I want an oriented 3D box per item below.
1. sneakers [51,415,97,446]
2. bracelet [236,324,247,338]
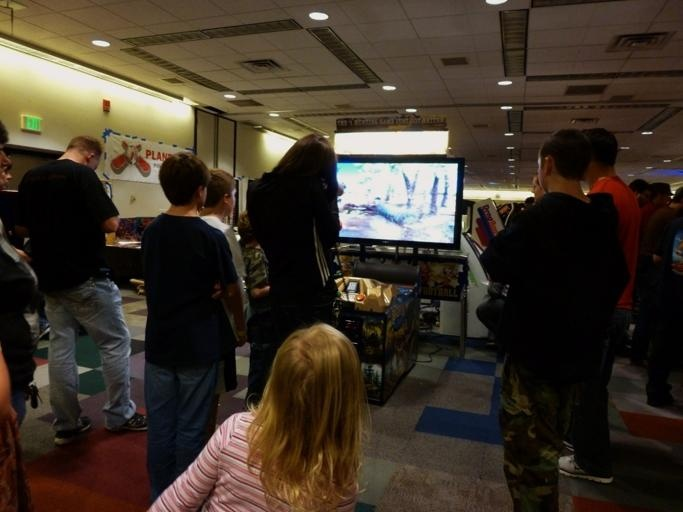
[{"bbox_3d":[-1.844,1.210,3.525,0.097,0.110,0.262,3,6,18],"label":"sneakers"},{"bbox_3d":[-0.577,0.437,2.924,0.071,0.067,0.060,0,4,-13],"label":"bracelet"}]
